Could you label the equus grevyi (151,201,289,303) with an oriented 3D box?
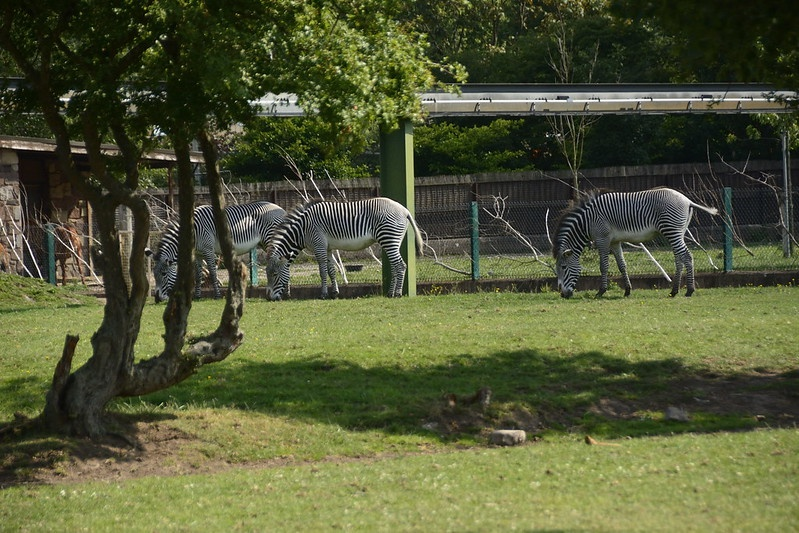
[{"bbox_3d":[-4.267,-0.480,28.388,3.916,2.260,1.022,-16,19,-38],"label":"equus grevyi"}]
